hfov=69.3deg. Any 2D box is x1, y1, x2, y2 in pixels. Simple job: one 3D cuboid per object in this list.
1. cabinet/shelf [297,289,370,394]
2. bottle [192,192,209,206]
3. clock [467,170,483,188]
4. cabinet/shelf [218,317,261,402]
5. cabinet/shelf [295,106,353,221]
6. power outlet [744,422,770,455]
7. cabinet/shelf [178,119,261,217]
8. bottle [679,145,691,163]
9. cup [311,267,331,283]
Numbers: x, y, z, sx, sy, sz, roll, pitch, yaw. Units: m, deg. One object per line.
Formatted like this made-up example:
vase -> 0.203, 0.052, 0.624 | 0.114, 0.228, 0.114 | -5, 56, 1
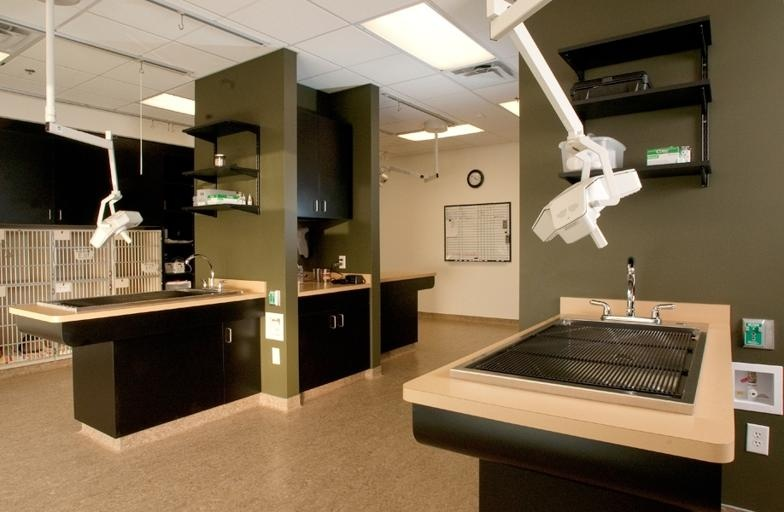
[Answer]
cabinet/shelf -> -0.846, 0.851, 6.234 | 0.704, 1.016, 1.155 | 2, 5, 40
bottle -> -1.901, -0.562, 5.635 | 0.204, 0.140, 0.111 | 3, 3, 42
clock -> 1.388, -1.281, 9.422 | 0.244, 0.240, 0.041 | -33, -14, 38
cabinet/shelf -> -1.474, 0.984, 5.553 | 0.126, 0.789, 0.506 | 11, 17, 41
cabinet/shelf -> -0.947, -0.976, 6.184 | 0.406, 1.067, 1.197 | 2, 4, 36
power outlet -> 2.538, 1.268, 3.939 | 0.125, 0.214, 0.024 | 3, 14, 37
cabinet/shelf -> -1.803, -0.810, 5.593 | 0.397, 0.927, 1.087 | -16, 3, 14
bottle -> 2.061, -0.719, 3.989 | 0.065, 0.109, 0.283 | 6, 14, 27
cup -> -0.835, 0.229, 6.599 | 0.206, 0.134, 0.130 | 1, 2, 33
